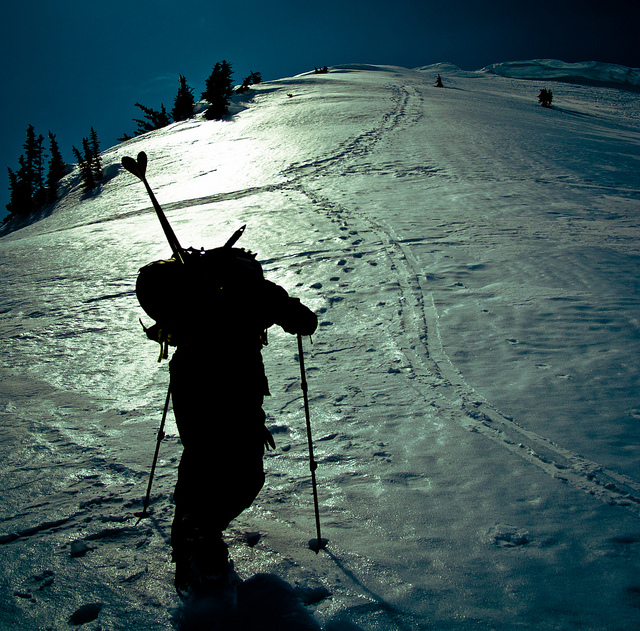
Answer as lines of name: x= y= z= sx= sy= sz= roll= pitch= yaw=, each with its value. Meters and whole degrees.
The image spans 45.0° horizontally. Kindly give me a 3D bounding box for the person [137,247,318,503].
person: x=-0.825 y=0.497 z=6.401 sx=1.564 sy=2.173 sz=0.624 roll=-25 pitch=21 yaw=-23
